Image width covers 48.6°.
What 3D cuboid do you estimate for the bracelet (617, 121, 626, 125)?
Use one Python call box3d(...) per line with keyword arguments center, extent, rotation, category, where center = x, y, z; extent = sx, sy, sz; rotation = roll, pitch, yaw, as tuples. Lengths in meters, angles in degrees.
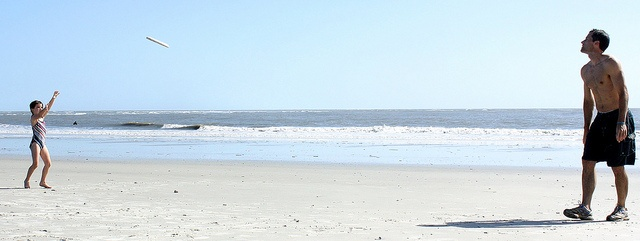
box3d(center=(18.395, 0.154, 43.166), extent=(0.643, 0.151, 0.111), rotation=(2, 13, 7), category="bracelet")
